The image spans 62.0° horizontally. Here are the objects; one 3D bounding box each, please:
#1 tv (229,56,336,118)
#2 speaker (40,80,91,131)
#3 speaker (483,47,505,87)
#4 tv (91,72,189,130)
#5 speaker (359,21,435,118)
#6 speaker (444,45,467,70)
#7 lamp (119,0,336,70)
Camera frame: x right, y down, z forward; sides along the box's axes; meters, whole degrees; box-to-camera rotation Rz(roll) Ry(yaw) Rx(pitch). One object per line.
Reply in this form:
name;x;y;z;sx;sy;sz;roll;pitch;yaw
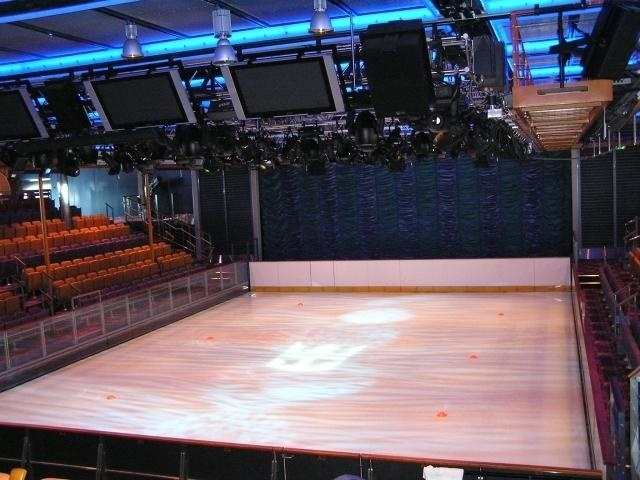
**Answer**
tv;-0.560;-2.369;8.281;1.949;0.866;0.164;4;33;33
speaker;-4.460;-2.353;9.437;0.665;0.918;0.430;-7;10;-18
speaker;2.837;-2.846;8.734;0.326;0.718;0.298;0;11;25
tv;-3.001;-2.292;8.900;0.145;0.790;1.515;-3;17;41
speaker;1.118;-2.141;6.814;0.972;1.133;1.154;0;29;15
speaker;2.405;-3.272;9.542;0.398;0.181;0.849;3;-4;18
lamp;-1.429;-3.178;8.300;3.386;0.922;1.151;1;10;28
